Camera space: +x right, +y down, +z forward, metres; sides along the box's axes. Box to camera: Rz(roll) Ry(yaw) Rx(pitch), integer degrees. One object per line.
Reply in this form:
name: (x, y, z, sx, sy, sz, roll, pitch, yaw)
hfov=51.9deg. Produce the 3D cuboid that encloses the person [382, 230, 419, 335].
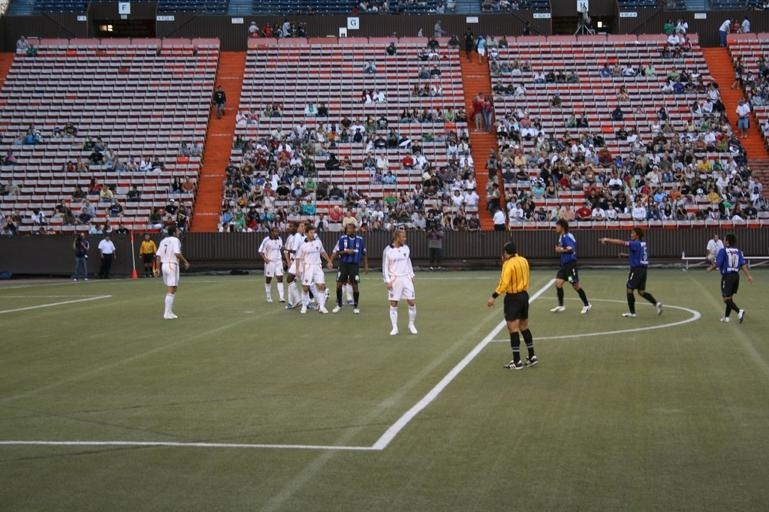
person: (0.459, 0.652, 20.658, 0.859, 2.759, 1.328, -1, 8, 2)

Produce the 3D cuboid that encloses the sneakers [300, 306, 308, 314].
sneakers: (-2.385, 1.627, 23.832, 0.148, 0.265, 0.249, 1, -4, -9)

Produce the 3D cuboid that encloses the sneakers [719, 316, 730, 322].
sneakers: (9.410, 1.740, 21.728, 0.134, 0.134, 0.299, -2, 5, 7)

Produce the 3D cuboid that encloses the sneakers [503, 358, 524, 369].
sneakers: (2.801, 2.293, 16.855, 0.480, 0.242, 0.174, 1, 0, 6)

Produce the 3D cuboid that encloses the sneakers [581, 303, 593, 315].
sneakers: (6.069, 1.612, 23.667, 0.189, 0.228, 0.542, -39, -8, 31)

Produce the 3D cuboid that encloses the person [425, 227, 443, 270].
person: (2.521, -0.437, 38.691, 0.626, 2.133, 0.769, 0, 8, 4)

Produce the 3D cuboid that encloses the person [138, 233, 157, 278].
person: (-11.051, -0.026, 37.275, 0.808, 2.026, 1.115, -3, 8, -18)

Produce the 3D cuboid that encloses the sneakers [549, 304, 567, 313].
sneakers: (5.251, 1.594, 23.731, 0.480, 0.226, 0.197, 0, -5, -7)

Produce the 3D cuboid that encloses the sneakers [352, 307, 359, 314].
sneakers: (-0.841, 1.659, 24.039, 0.154, 0.187, 0.442, -1, -4, -8)

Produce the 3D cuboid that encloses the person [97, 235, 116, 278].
person: (-12.998, 0.008, 37.221, 0.826, 2.058, 0.864, -4, 8, -21)

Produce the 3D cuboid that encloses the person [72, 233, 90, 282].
person: (-14.205, 0.012, 37.144, 0.766, 2.160, 1.399, -4, 8, -22)
